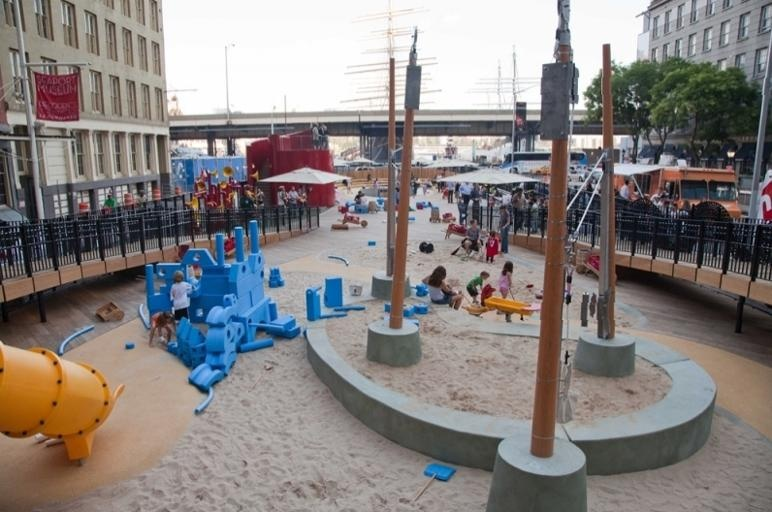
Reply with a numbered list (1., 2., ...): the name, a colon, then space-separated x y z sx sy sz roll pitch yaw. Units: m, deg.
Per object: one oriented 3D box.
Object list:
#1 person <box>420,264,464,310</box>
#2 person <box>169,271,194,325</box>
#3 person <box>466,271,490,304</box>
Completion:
1. person: 1.796 0.809 18.308 1.298 1.804 0.959 -22 30 -33
2. person: -5.760 1.118 16.238 0.627 1.461 0.443 3 14 19
3. person: 2.944 1.063 18.820 0.863 1.321 0.436 -9 25 -25
